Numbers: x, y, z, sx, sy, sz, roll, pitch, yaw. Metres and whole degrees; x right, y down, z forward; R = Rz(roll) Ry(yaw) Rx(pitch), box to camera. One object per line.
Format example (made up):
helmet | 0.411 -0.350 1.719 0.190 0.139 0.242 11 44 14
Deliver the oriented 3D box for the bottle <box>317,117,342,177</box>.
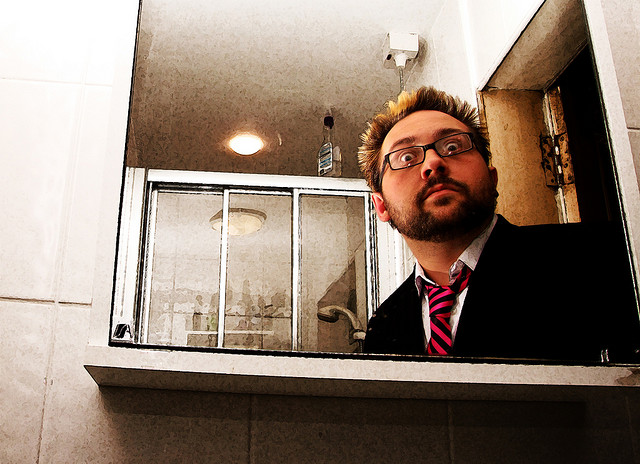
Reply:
bottle | 0.022 -0.192 1.365 0.055 0.147 0.028 0 -10 -1

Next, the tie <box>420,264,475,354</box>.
tie | 0.268 0.168 1.247 0.144 0.234 0.098 0 -23 12
